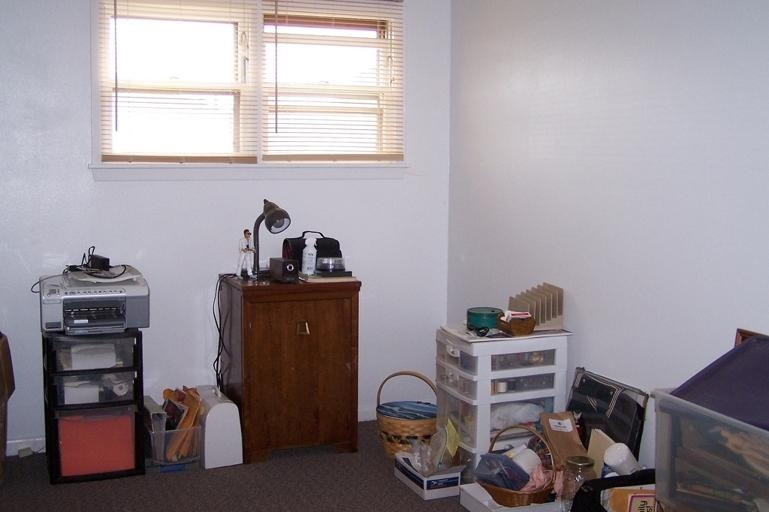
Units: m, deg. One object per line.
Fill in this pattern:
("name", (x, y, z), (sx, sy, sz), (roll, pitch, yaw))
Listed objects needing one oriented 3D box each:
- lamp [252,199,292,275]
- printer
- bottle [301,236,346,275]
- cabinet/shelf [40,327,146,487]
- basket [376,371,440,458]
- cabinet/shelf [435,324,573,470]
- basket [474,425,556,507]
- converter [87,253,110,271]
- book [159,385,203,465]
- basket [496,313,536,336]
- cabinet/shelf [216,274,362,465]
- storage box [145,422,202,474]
("lamp", (-0.743, -0.124, 3.814), (0.227, 0.474, 0.528), (-1, 11, -12))
("printer", (-1.650, 0.259, 3.389), (0.553, 0.324, 0.315), (-3, 11, -21))
("bottle", (-0.401, 0.015, 3.804), (0.268, 0.261, 0.234), (0, 0, -21))
("cabinet/shelf", (-1.650, 0.859, 3.560), (0.699, 0.823, 0.727), (-1, -2, -42))
("basket", (0.123, 0.951, 3.696), (0.477, 0.595, 0.461), (0, -4, 3))
("cabinet/shelf", (0.638, 0.752, 3.633), (0.721, 0.930, 0.668), (-1, 4, -18))
("basket", (0.631, 1.012, 3.010), (0.366, 0.368, 0.410), (5, -3, -21))
("converter", (-1.709, 0.045, 3.525), (0.093, 0.118, 0.172), (9, -6, -37))
("book", (-1.228, 1.020, 3.560), (0.112, 0.393, 0.286), (8, -10, -29))
("basket", (0.715, 0.377, 3.211), (0.107, 0.080, 0.161), (1, -1, -14))
("cabinet/shelf", (-0.596, 0.667, 4.072), (1.006, 1.458, 1.000), (-1, 3, -20))
("storage box", (-1.239, 1.134, 3.490), (0.384, 0.275, 0.217), (0, -2, -28))
